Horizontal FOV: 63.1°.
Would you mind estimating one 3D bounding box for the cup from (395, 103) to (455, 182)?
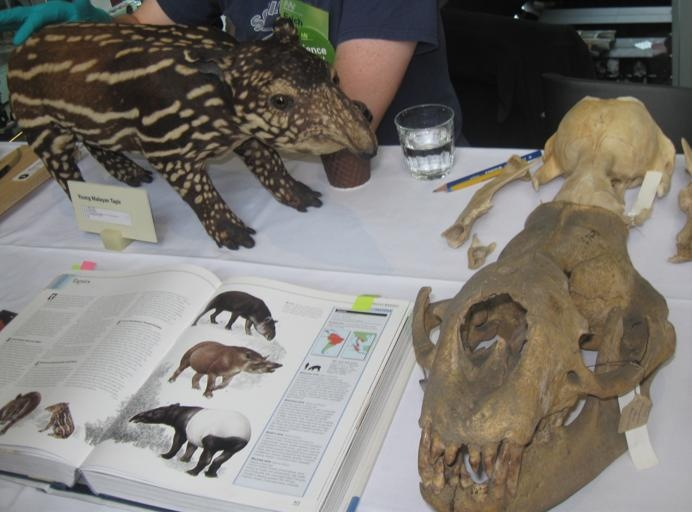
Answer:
[{"bbox_3d":[0.173,-0.261,1.294,0.148,0.140,0.136,-9,39,8],"label":"cup"}]
